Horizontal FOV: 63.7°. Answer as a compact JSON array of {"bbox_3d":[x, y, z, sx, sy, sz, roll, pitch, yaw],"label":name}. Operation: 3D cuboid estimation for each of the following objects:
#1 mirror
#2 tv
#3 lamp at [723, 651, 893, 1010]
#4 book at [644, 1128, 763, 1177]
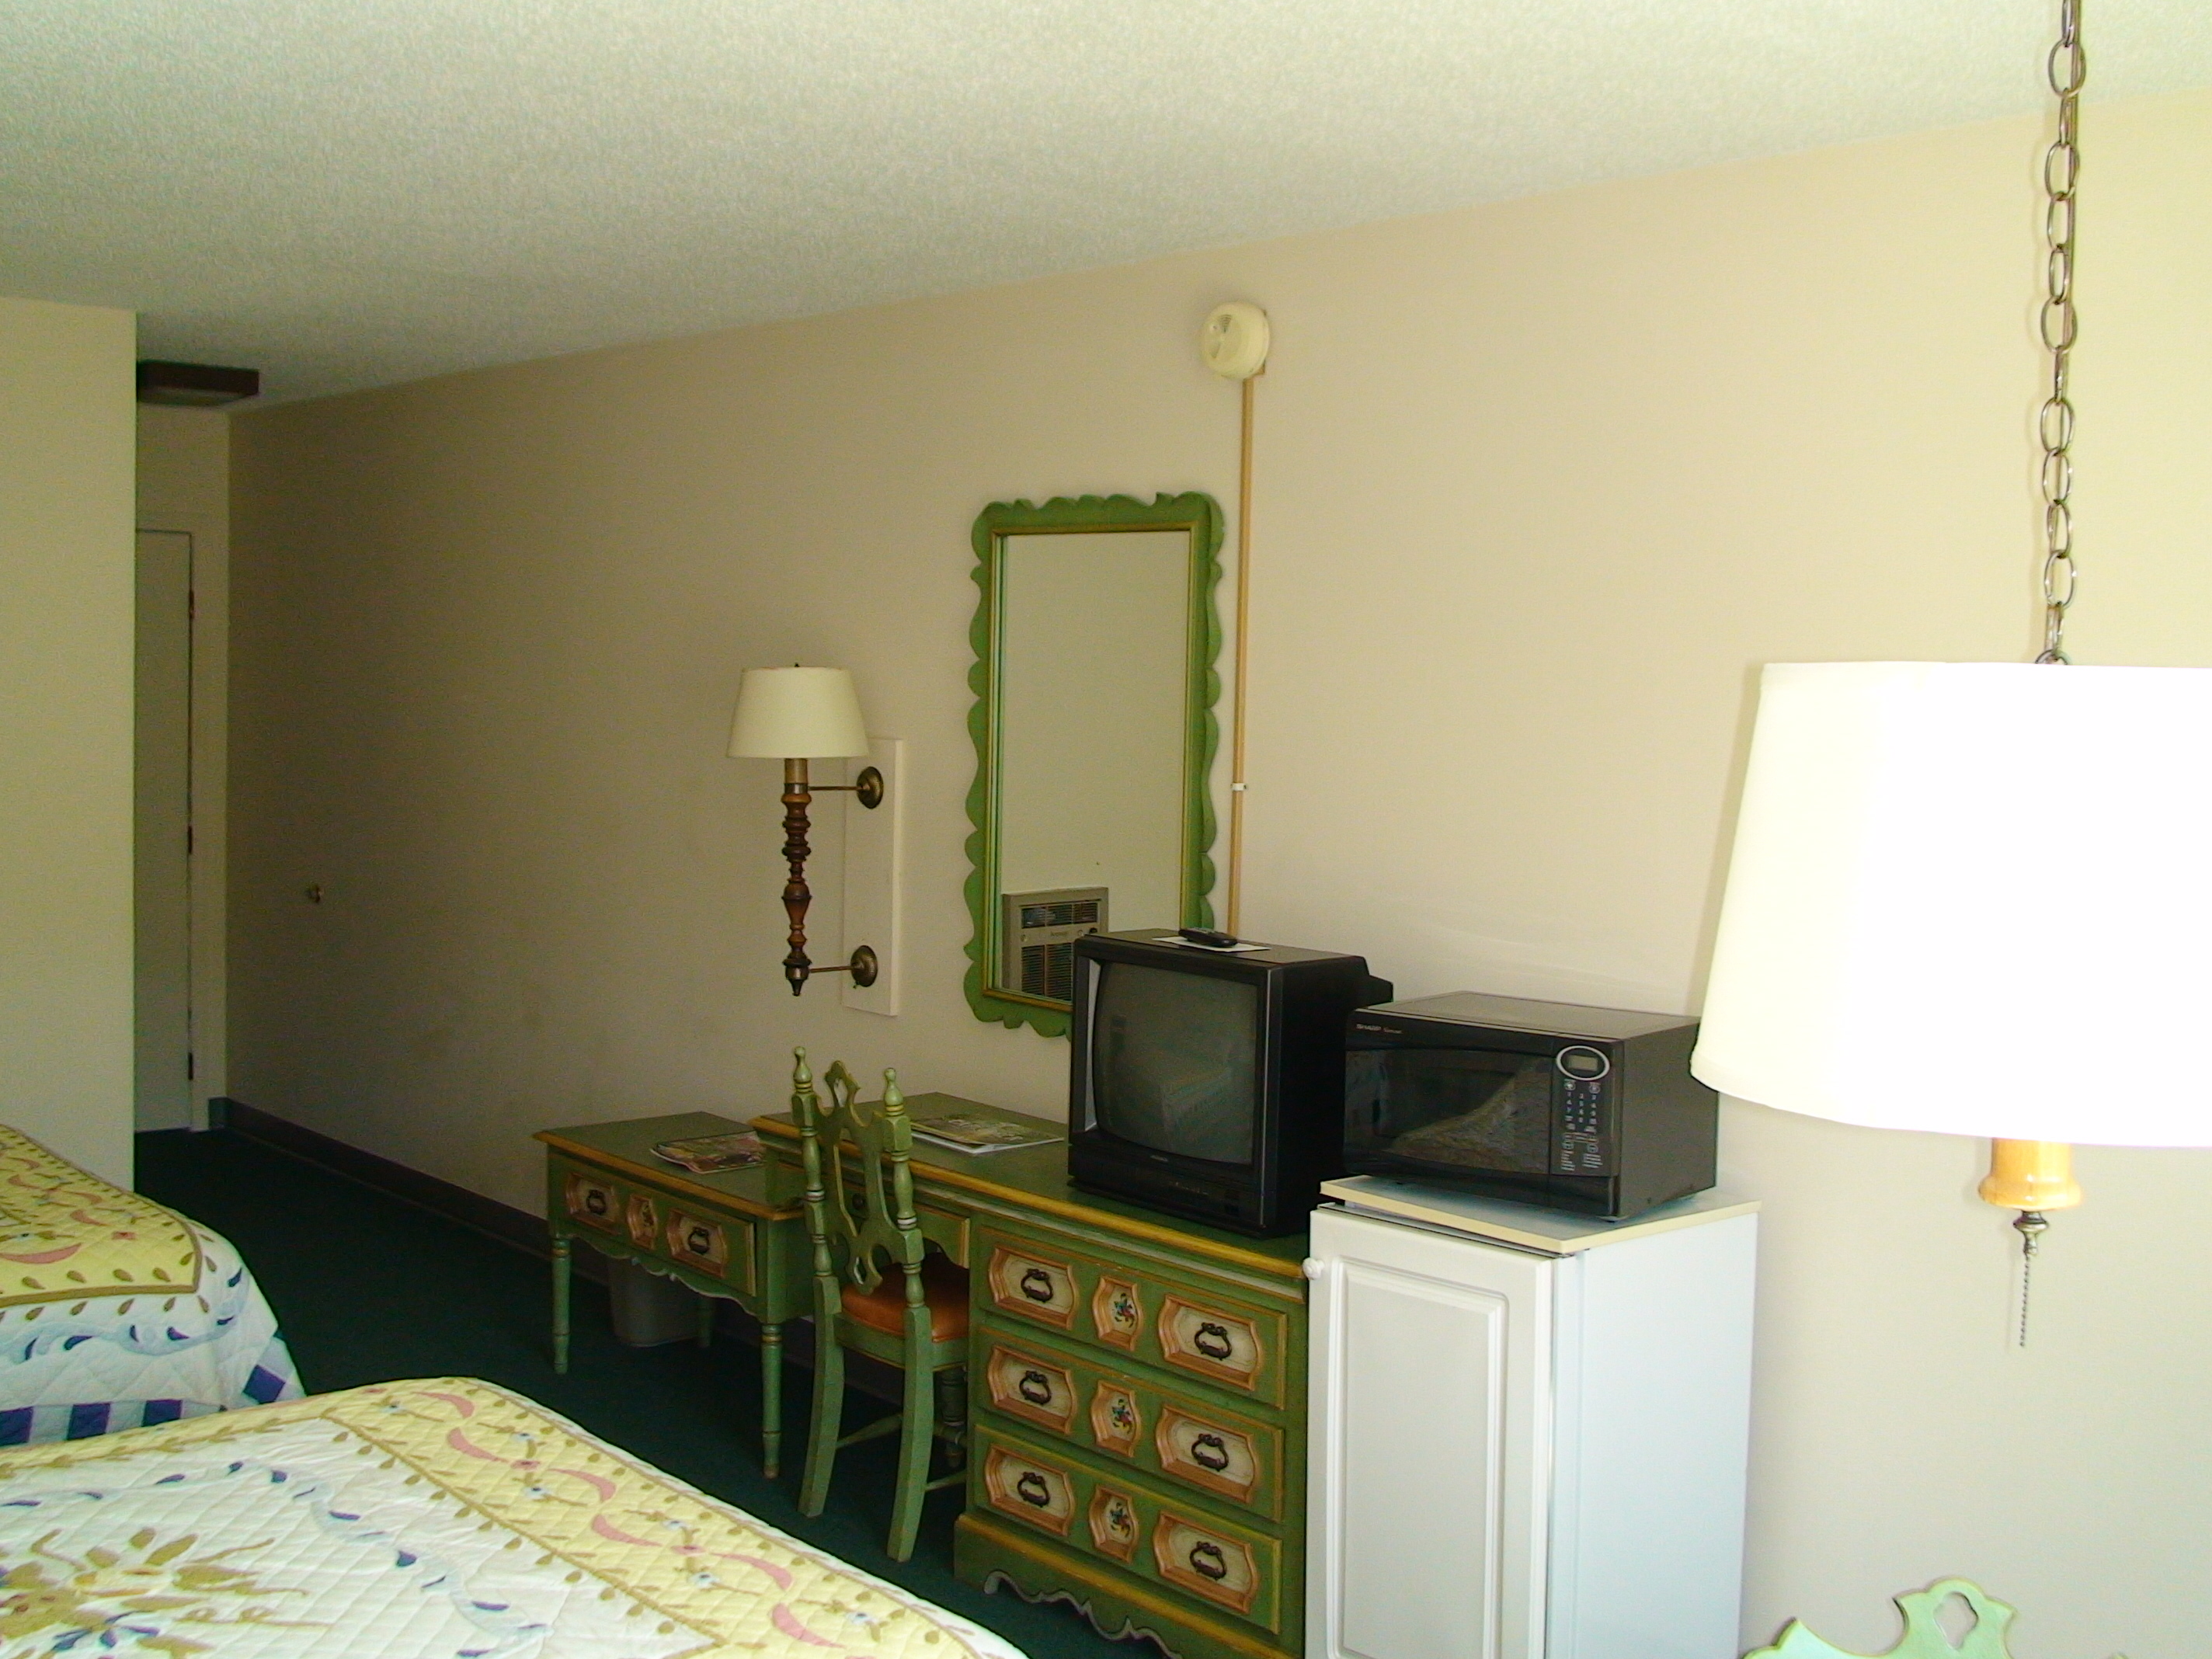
[{"bbox_3d":[-0.050,-0.159,4.525,0.196,1.369,0.835,-5,8,-42],"label":"mirror"},{"bbox_3d":[0.203,0.475,3.894,0.563,0.701,0.727,0,3,-36],"label":"tv"},{"bbox_3d":[-0.825,0.025,5.005,0.428,0.973,0.607,0,6,-8],"label":"lamp"},{"bbox_3d":[-1.118,0.895,4.939,0.172,0.041,0.169,-2,6,-37],"label":"book"}]
